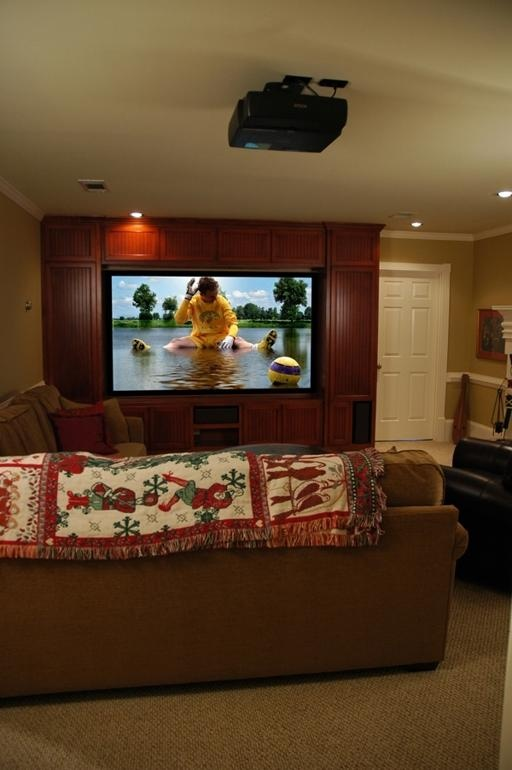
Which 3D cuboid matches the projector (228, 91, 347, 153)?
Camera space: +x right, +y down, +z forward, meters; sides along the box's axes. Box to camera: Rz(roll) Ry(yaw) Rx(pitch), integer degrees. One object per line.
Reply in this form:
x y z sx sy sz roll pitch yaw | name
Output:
0.129 -1.106 2.366 0.421 0.129 0.311 -1 8 -12 | projector

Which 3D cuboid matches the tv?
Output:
-0.483 -0.498 5.496 2.129 1.133 0.126 2 8 -15 | tv

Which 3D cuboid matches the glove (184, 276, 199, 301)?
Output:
-0.617 -0.935 5.473 0.124 0.210 0.053 10 12 -12 | glove
